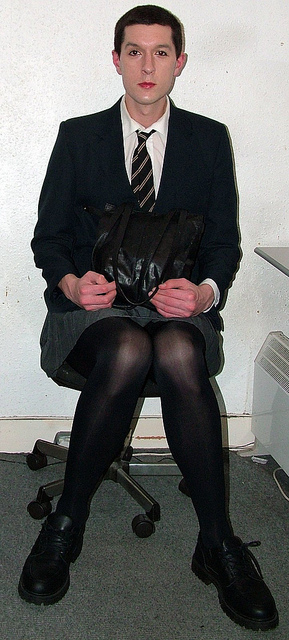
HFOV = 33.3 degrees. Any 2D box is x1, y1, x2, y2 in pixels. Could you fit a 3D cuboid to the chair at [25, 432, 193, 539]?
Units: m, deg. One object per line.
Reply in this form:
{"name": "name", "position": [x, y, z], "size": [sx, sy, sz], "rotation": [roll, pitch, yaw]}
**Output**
{"name": "chair", "position": [-0.129, 0.498, 1.479], "size": [0.343, 0.407, 0.394], "rotation": [4, 52, -5]}

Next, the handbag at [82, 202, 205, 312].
{"name": "handbag", "position": [0.000, -0.150, 1.183], "size": [0.238, 0.291, 0.087], "rotation": [5, -2, 4]}

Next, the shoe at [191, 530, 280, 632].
{"name": "shoe", "position": [0.200, 0.545, 1.109], "size": [0.090, 0.132, 0.250], "rotation": [-8, 26, -22]}

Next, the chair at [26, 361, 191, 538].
{"name": "chair", "position": [-0.117, 0.362, 1.513], "size": [0.450, 0.559, 0.482], "rotation": [-5, 31, -13]}

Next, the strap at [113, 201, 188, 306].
{"name": "strap", "position": [0.010, -0.184, 1.117], "size": [0.134, 0.269, 0.045], "rotation": [8, -19, 5]}

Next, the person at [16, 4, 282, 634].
{"name": "person", "position": [0.009, -0.082, 1.190], "size": [0.624, 1.414, 0.662], "rotation": [-1, 7, -15]}

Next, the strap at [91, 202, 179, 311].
{"name": "strap", "position": [-0.021, -0.142, 1.193], "size": [0.119, 0.238, 0.047], "rotation": [7, 20, 2]}

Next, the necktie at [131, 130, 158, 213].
{"name": "necktie", "position": [-0.002, -0.423, 1.362], "size": [0.069, 0.232, 0.074], "rotation": [1, 6, -1]}

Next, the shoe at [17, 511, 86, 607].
{"name": "shoe", "position": [-0.198, 0.516, 1.138], "size": [0.086, 0.122, 0.251], "rotation": [16, 17, 1]}
